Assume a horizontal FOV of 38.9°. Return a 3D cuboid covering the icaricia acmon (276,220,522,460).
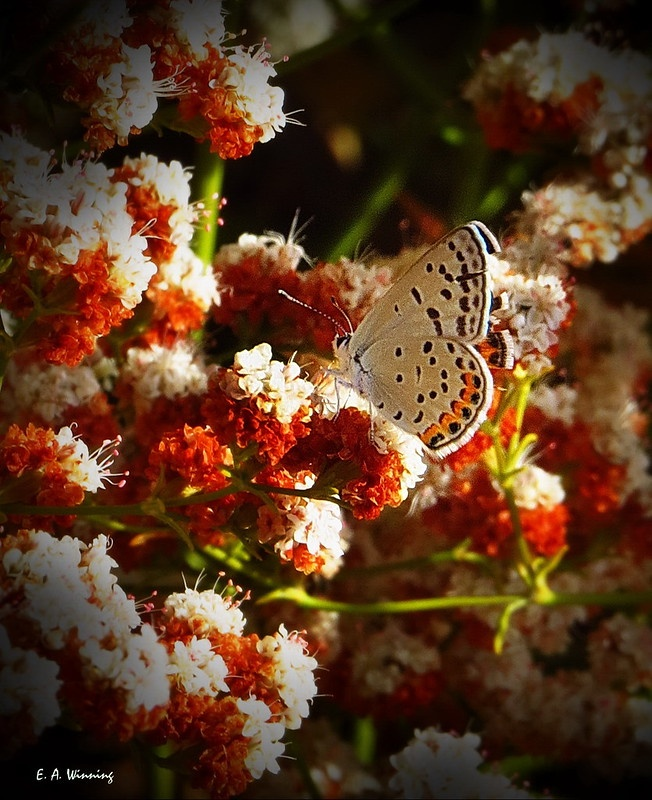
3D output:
[{"bbox_3d":[0.041,-0.057,0.784,0.197,0.210,0.130,19,104,7],"label":"icaricia acmon"}]
